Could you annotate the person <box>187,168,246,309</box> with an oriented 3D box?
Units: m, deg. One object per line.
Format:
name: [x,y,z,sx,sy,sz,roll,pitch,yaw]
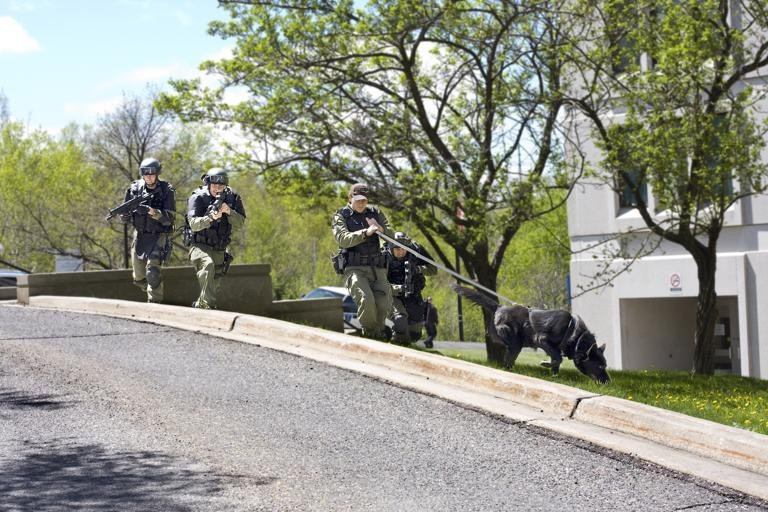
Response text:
person: [-3.524,-0.393,22.232,1.136,2.950,1.239,3,-6,-18]

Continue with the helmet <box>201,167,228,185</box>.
helmet: [-3.405,-1.623,21.980,0.430,0.261,0.346,-8,10,-36]

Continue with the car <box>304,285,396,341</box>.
car: [-1.327,1.989,36.223,2.585,1.443,1.755,14,2,27]

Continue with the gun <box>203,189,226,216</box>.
gun: [-3.416,-1.095,21.935,0.188,0.708,0.390,5,-36,23]

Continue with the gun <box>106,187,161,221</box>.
gun: [-5.453,-1.099,23.243,0.938,0.607,0.381,4,-6,-20]

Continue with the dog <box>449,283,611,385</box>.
dog: [2.618,1.415,20.079,3.097,1.705,0.848,8,10,16]

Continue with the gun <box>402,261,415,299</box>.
gun: [0.519,0.449,22.280,0.336,0.917,0.140,1,10,-1]

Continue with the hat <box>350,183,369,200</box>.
hat: [-0.520,-1.304,21.808,0.359,0.412,0.551,2,-6,-7]

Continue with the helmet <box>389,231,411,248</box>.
helmet: [0.357,-0.369,22.103,0.287,0.308,0.262,-28,37,-18]

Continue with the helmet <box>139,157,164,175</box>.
helmet: [-5.030,-1.922,23.264,0.356,0.366,0.425,2,11,4]
